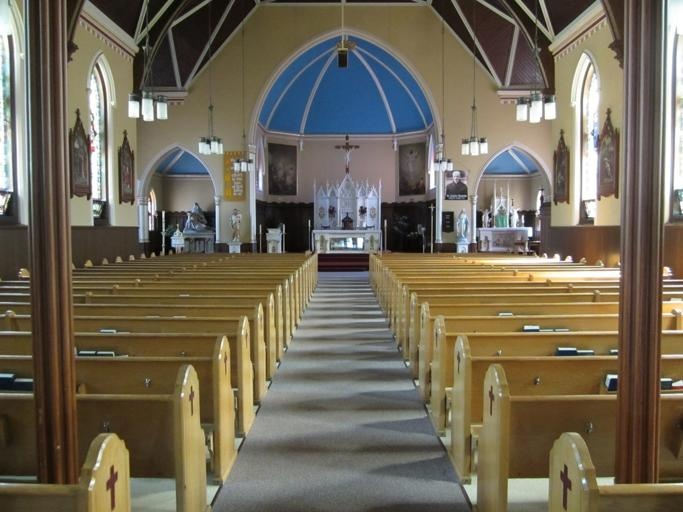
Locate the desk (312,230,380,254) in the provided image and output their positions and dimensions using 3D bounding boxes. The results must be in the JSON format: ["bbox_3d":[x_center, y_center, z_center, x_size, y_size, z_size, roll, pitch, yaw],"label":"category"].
[{"bbox_3d":[0.179,-0.530,22.663,2.154,0.703,0.761,-3,10,-11],"label":"desk"}]

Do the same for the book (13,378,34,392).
[{"bbox_3d":[-2.702,1.094,5.817,0.143,0.101,0.223,-7,12,-32],"label":"book"}]

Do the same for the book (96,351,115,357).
[{"bbox_3d":[-2.220,0.915,6.450,0.100,0.027,0.080,2,2,-3],"label":"book"}]

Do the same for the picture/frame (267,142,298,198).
[{"bbox_3d":[-2.249,-3.310,26.481,1.291,2.024,0.031,-2,7,-25],"label":"picture/frame"}]

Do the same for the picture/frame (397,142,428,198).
[{"bbox_3d":[2.700,-3.285,26.078,1.364,2.085,0.045,1,4,44],"label":"picture/frame"}]

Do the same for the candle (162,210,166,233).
[{"bbox_3d":[-6.989,-1.512,27.082,0.078,0.583,0.277,-2,9,-5],"label":"candle"}]

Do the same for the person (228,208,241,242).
[{"bbox_3d":[-3.247,-0.941,21.120,0.357,0.971,0.356,-3,9,-9],"label":"person"}]

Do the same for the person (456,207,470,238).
[{"bbox_3d":[3.765,-0.938,21.131,0.355,0.890,0.380,0,9,8],"label":"person"}]

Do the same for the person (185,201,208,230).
[{"bbox_3d":[-5.121,-1.349,24.155,0.757,0.866,0.953,-3,10,-11],"label":"person"}]
